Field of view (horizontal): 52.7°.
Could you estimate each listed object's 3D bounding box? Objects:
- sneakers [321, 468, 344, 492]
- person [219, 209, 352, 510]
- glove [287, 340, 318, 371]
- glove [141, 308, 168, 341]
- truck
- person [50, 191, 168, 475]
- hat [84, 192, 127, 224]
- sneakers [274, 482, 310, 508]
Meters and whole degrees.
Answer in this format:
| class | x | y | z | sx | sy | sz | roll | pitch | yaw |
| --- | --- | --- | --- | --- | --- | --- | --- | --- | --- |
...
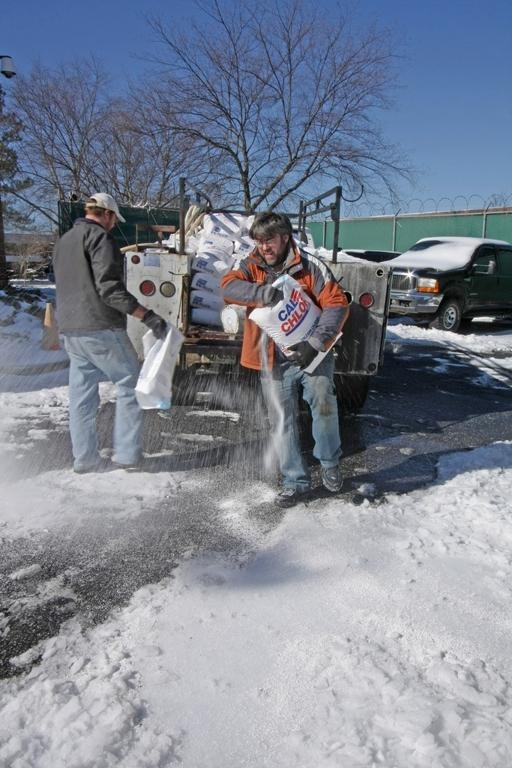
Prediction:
| class | x | y | z | sx | sy | sz | roll | pitch | yaw |
| --- | --- | --- | --- | --- | --- | --- | --- | --- | --- |
| sneakers | 0.489 | 0.621 | 3.301 | 0.098 | 0.090 | 0.185 | -3 | 52 | 3 |
| person | 0.183 | -0.110 | 3.094 | 0.778 | 1.720 | 0.558 | 0 | 10 | -1 |
| glove | 0.256 | -0.162 | 2.909 | 0.151 | 0.141 | 0.117 | -36 | 6 | -10 |
| glove | -0.669 | -0.395 | 3.439 | 0.172 | 0.185 | 0.128 | 0 | 10 | -3 |
| truck | -0.038 | -1.185 | 5.733 | 2.087 | 1.966 | 3.209 | 1 | 21 | 1 |
| person | -1.035 | -0.345 | 3.554 | 0.712 | 1.885 | 0.433 | -1 | 10 | -7 |
| hat | -1.051 | -1.255 | 3.679 | 0.177 | 0.154 | 0.259 | 23 | 16 | 34 |
| sneakers | 0.239 | 0.697 | 3.229 | 0.094 | 0.121 | 0.282 | -1 | -6 | 34 |
